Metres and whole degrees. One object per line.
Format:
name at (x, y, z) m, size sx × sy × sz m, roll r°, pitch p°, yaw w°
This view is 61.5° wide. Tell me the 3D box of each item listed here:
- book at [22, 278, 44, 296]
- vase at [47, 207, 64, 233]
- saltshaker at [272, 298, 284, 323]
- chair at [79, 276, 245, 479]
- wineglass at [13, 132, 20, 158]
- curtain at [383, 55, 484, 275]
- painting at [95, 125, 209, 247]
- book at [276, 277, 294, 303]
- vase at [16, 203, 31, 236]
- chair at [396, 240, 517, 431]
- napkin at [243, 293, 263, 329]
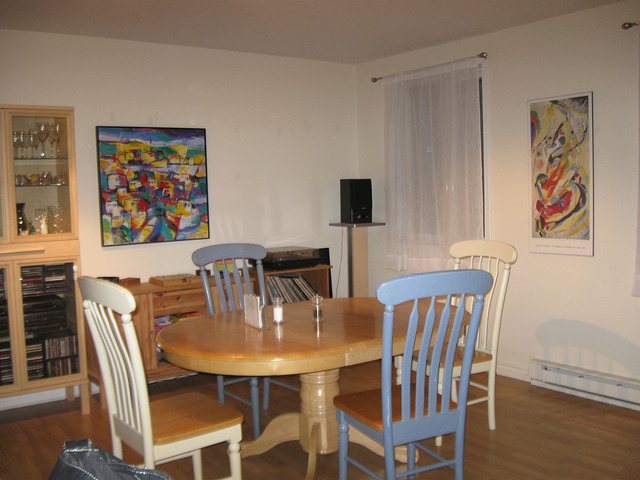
book at (-2.299, 0.368, 4.268) m, size 0.133 × 0.120 × 0.020 m, roll -2°, pitch 3°, yaw -31°
vase at (-2.157, -0.162, 4.384) m, size 0.130 × 0.205 × 0.054 m, roll -7°, pitch 9°, yaw -26°
saltshaker at (-0.255, 0.425, 3.282) m, size 0.065 × 0.145 × 0.162 m, roll -4°, pitch 7°, yaw -5°
chair at (-0.833, 0.715, 2.830) m, size 0.591 × 1.108 × 0.639 m, roll -10°, pitch 10°, yaw -39°
wineglass at (-2.391, -0.741, 4.214) m, size 0.041 × 0.194 × 0.015 m, roll -9°, pitch 10°, yaw -39°
curtain at (1.092, -0.669, 5.270) m, size 1.164 × 2.058 × 0.322 m, roll 4°, pitch 11°, yaw 43°
painting at (-1.569, -0.497, 4.880) m, size 1.046 × 1.238 × 0.049 m, roll -3°, pitch 7°, yaw -35°
book at (-0.327, 0.467, 4.960) m, size 0.036 × 0.253 × 0.040 m, roll -33°, pitch -5°, yaw -15°
vase at (-2.369, -0.164, 4.261) m, size 0.086 × 0.248 × 0.052 m, roll -10°, pitch 10°, yaw -39°
chair at (0.911, 0.732, 3.855) m, size 0.793 × 1.468 × 0.788 m, roll 3°, pitch 0°, yaw -15°
napkin at (-0.396, 0.427, 3.186) m, size 0.031 × 0.161 × 0.172 m, roll -8°, pitch 9°, yaw -32°
